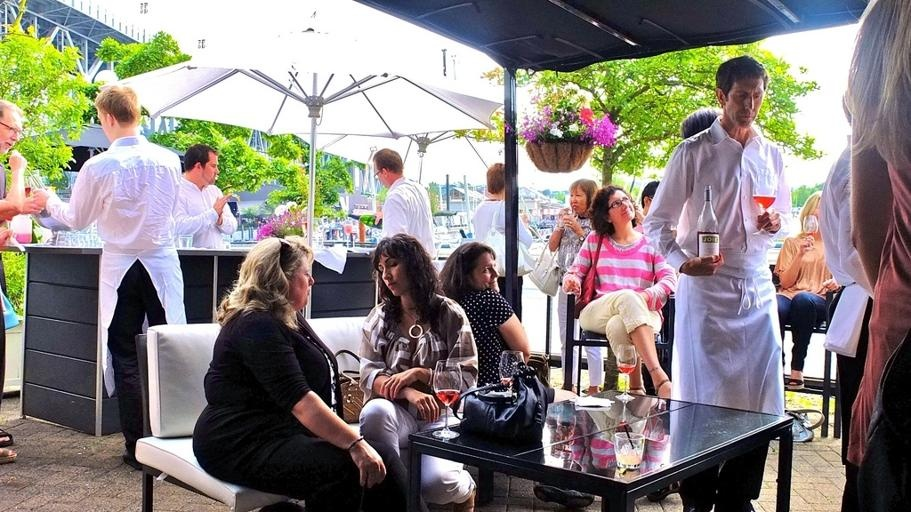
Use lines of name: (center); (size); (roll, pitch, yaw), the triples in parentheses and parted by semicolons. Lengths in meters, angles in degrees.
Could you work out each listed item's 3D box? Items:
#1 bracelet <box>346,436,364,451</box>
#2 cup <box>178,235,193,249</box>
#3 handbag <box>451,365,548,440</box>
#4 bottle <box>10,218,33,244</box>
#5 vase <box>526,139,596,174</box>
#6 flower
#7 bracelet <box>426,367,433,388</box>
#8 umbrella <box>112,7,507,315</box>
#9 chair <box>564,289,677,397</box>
bracelet: (-0.609, 1.130, 4.172); (0.090, 0.031, 0.078); (-36, 2, -9)
cup: (-2.821, -0.141, 7.145); (0.160, 0.129, 0.152); (1, -4, 0)
handbag: (0.323, 0.910, 4.176); (0.712, 0.458, 0.416); (-9, -26, 42)
bottle: (-3.873, -0.222, 6.126); (0.227, 0.218, 0.234); (4, 4, 30)
vase: (1.019, -0.907, 6.578); (0.618, 0.193, 0.587); (9, -11, -36)
flower: (1.042, -1.195, 6.500); (0.671, 0.335, 0.658); (1, 14, 20)
bracelet: (-0.173, 0.815, 4.575); (0.059, 0.093, 0.086); (1, -6, -1)
umbrella: (-1.461, -1.594, 7.740); (3.148, 1.680, 2.900); (5, 9, 14)
chair: (1.516, 0.663, 5.968); (0.525, 0.659, 1.318); (-2, 18, -18)
